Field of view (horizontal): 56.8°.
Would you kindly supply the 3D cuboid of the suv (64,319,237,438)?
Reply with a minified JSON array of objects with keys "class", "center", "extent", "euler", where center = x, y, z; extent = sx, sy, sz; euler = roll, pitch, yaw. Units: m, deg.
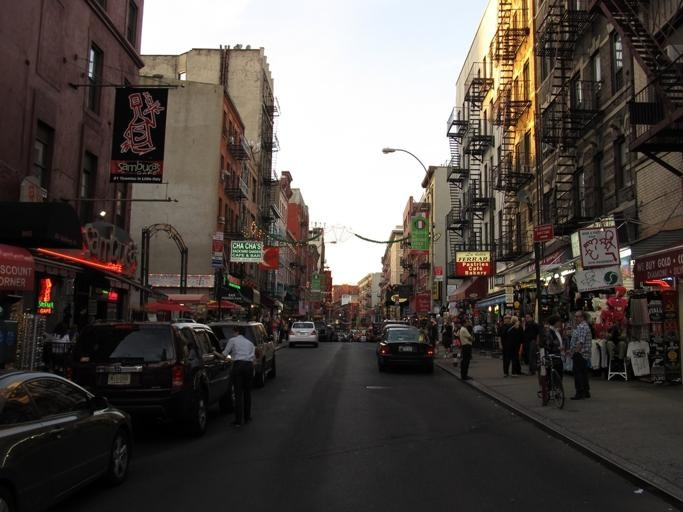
[{"class":"suv","center":[-3.517,2.279,12.039],"extent":[1.493,1.610,3.433],"euler":[0,-3,8]}]

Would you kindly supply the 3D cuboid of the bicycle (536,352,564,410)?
[{"class":"bicycle","center":[5.089,2.951,15.325],"extent":[0.559,1.385,1.644],"euler":[-3,-11,18]}]

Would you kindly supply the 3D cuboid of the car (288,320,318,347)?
[{"class":"car","center":[-2.611,5.202,42.540],"extent":[1.977,1.658,1.258],"euler":[4,-11,-22]}]

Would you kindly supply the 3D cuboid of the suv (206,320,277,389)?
[{"class":"suv","center":[-2.821,2.779,19.257],"extent":[1.150,1.344,2.833],"euler":[0,-2,6]}]

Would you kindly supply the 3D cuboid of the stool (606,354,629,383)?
[{"class":"stool","center":[8.474,3.458,19.368],"extent":[0.593,1.146,0.602],"euler":[0,-5,39]}]

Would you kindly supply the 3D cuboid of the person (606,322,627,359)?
[{"class":"person","center":[8.454,2.597,19.348],"extent":[0.607,1.096,0.423],"euler":[-8,-12,37]}]
